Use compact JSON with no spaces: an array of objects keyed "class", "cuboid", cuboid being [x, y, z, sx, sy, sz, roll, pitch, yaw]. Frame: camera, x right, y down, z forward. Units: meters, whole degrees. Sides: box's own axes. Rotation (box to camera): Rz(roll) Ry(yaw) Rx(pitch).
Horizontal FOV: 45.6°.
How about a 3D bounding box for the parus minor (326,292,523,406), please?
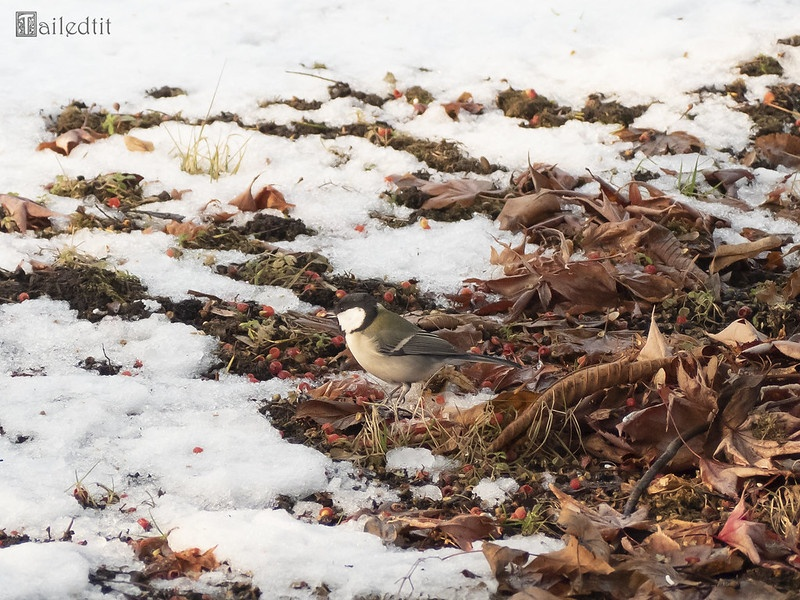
[{"class":"parus minor","cuboid":[-0.071,0.273,6.428,1.022,0.761,1.160,-6,21,-32]}]
